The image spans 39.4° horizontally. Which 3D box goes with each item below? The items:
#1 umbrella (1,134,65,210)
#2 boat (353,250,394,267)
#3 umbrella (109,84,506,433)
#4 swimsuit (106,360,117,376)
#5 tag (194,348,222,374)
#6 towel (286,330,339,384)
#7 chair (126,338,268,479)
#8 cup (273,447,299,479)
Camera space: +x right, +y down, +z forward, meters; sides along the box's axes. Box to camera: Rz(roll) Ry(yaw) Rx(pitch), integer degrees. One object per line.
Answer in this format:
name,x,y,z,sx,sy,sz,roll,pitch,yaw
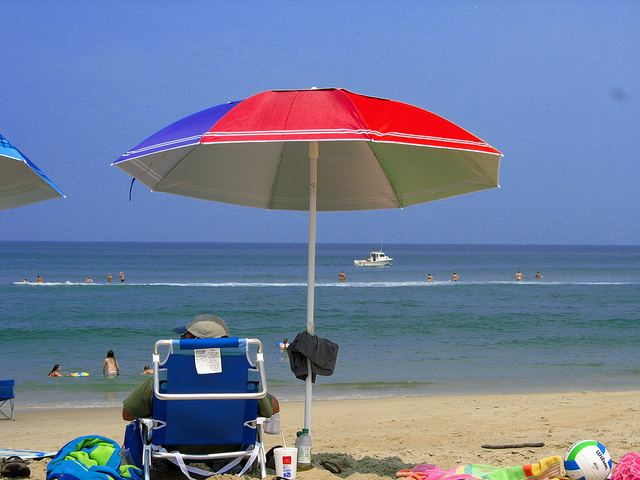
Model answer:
umbrella,-4.051,-0.870,12.439,0.756,0.566,1.349,4,-19,-14
boat,5.665,2.318,90.823,3.915,1.331,1.738,-3,7,-21
umbrella,-0.127,-0.318,13.457,5.301,3.981,4.937,-1,4,-39
swimsuit,-5.469,3.458,23.519,0.285,0.449,0.172,4,-21,-16
tag,-1.498,1.636,11.861,0.413,0.350,0.031,-1,-7,-8
towel,-0.143,1.692,12.327,0.333,0.702,0.846,-9,-21,42
chair,-1.553,2.324,11.991,1.717,1.869,1.057,0,-20,-5
cup,-0.451,3.077,12.062,0.462,0.466,0.366,0,-11,-6
